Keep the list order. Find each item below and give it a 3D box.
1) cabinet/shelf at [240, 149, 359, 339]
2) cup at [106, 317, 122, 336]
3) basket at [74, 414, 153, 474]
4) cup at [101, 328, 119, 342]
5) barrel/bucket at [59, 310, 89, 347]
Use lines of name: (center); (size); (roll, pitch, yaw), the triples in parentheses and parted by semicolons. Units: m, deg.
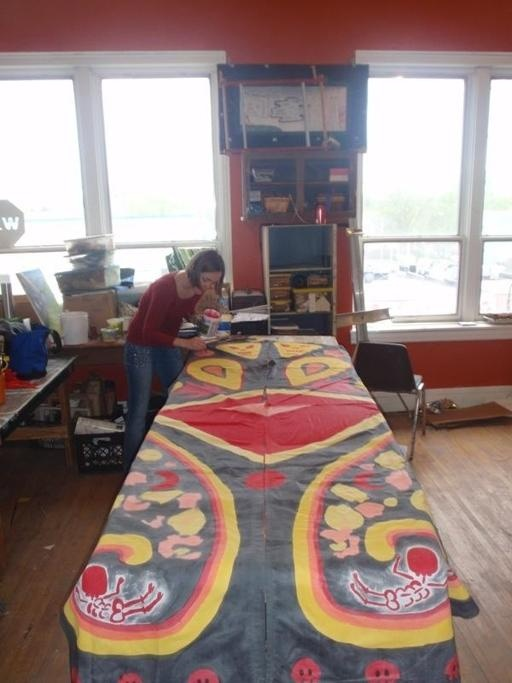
cabinet/shelf: (0.299, -0.646, 3.581); (0.811, 1.190, 0.625); (-2, 14, -1)
cup: (-0.866, -0.088, 3.310); (0.065, 0.093, 0.099); (13, 20, 42)
basket: (-0.848, 0.598, 3.335); (0.604, 0.399, 0.316); (-1, 11, -4)
cup: (-0.880, -0.033, 3.287); (0.071, 0.055, 0.096); (3, 3, 30)
barrel/bucket: (-1.070, -0.081, 3.195); (0.199, 0.207, 0.188); (0, 13, 0)
